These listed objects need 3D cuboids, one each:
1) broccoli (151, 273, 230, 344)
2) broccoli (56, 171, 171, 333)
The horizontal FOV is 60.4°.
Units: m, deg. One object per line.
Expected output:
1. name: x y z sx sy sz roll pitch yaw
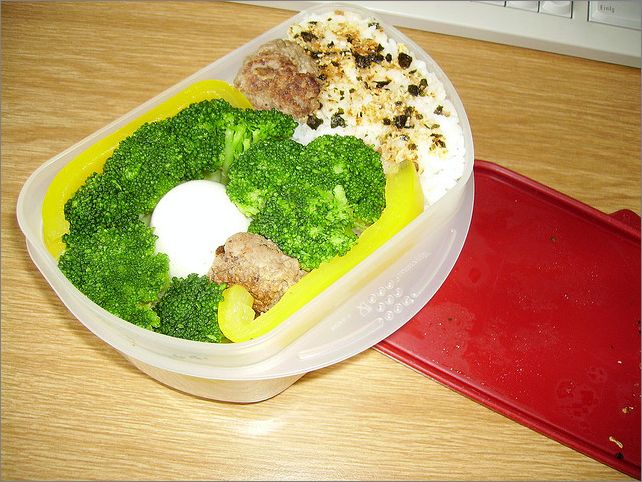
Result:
1. broccoli: -0.457 0.248 1.917 0.223 0.060 0.241 1 79 17
2. broccoli: -0.723 0.066 1.983 0.550 0.111 0.351 44 78 5
